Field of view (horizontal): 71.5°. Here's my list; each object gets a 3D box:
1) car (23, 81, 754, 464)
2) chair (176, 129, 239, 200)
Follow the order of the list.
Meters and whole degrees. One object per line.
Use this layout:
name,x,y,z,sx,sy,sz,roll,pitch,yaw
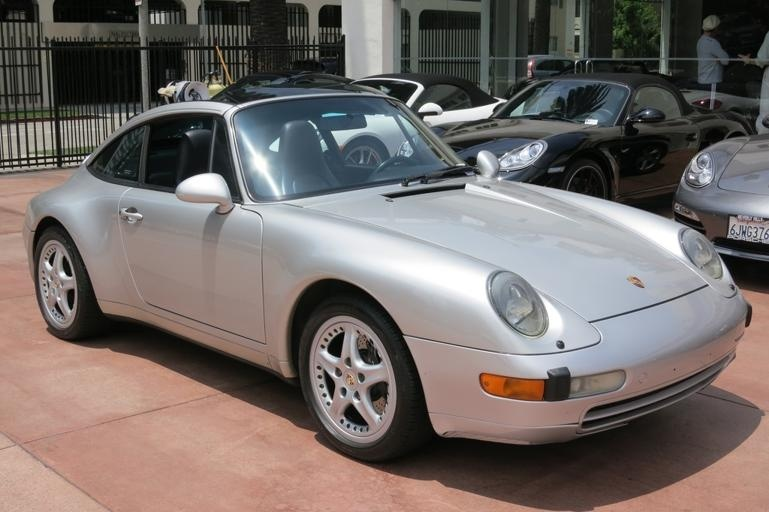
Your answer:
car,-0.394,-0.190,4.095,5.412,2.136,2.222,11,19,31
chair,-1.290,-0.634,3.723,0.441,0.490,0.458,7,19,30
